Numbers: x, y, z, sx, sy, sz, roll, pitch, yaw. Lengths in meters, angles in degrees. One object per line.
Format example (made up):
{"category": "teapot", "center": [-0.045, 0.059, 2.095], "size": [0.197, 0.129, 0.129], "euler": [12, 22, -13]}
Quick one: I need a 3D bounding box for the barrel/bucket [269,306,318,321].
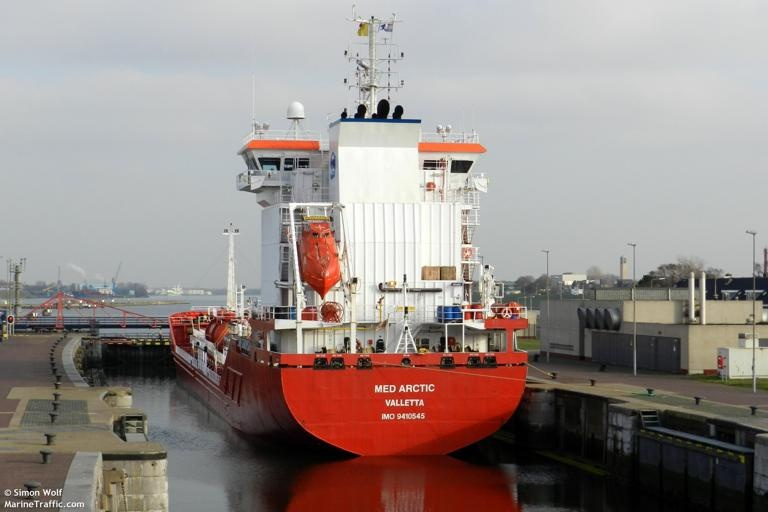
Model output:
{"category": "barrel/bucket", "center": [-4.145, 2.543, 59.319], "size": [2.189, 0.648, 1.161], "euler": [0, 9, 6]}
